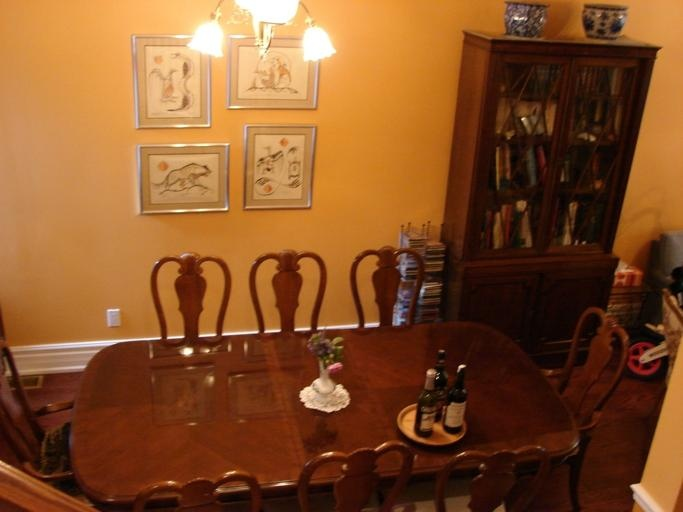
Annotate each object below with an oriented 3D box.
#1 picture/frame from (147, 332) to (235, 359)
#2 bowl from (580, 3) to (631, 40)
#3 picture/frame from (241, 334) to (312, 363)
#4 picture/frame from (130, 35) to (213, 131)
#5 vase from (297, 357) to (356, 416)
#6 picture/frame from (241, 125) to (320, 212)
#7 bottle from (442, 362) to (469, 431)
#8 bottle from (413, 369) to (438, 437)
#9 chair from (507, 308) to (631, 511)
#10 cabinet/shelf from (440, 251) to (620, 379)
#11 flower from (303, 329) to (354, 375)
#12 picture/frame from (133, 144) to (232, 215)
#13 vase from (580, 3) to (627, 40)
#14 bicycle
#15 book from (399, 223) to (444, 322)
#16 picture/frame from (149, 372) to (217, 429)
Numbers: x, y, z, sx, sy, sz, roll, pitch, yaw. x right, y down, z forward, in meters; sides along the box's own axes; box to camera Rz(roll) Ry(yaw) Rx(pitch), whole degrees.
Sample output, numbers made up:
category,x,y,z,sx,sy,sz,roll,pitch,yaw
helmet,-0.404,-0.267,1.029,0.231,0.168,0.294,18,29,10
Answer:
category,x,y,z,sx,sy,sz,roll,pitch,yaw
picture/frame,-0.796,0.487,2.898,0.445,0.076,0.108,-6,32,-9
bowl,1.791,-1.582,3.703,0.265,0.177,0.270,1,25,0
picture/frame,-0.345,0.498,2.940,0.240,0.048,0.152,0,30,-9
picture/frame,-1.120,-1.131,3.511,0.629,0.699,0.047,-4,28,-9
vase,-0.060,0.640,2.565,0.246,0.233,0.234,2,30,-2
picture/frame,-0.459,-0.648,3.895,0.641,0.742,0.029,-2,26,-12
bottle,0.508,0.594,2.418,0.099,0.382,0.293,4,16,13
bottle,0.366,0.614,2.357,0.098,0.368,0.225,3,15,10
chair,1.322,0.902,3.165,0.723,1.198,0.652,-5,27,-2
cabinet/shelf,1.262,0.361,3.760,0.953,0.784,0.332,-3,35,-6
flower,-0.069,0.450,2.623,0.234,0.240,0.210,-4,32,-10
picture/frame,-1.131,-0.546,3.773,0.512,0.407,0.037,-5,29,-9
vase,1.783,-1.578,3.726,0.263,0.176,0.268,3,25,4
bicycle,2.351,0.498,4.080,0.277,1.017,0.762,8,17,28
book,0.581,0.143,3.989,0.274,0.746,0.523,-2,21,-6
picture/frame,-0.736,0.668,2.521,0.205,0.053,0.209,-1,30,-17
